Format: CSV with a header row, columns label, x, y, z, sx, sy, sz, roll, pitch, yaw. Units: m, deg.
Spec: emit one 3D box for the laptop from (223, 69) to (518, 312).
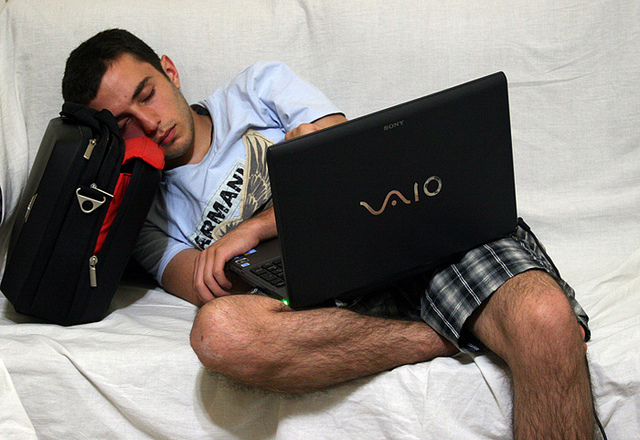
label,x,y,z,sx,sy,sz,roll,pitch,yaw
laptop,0.115,-0.144,1.451,0.776,0.548,0.569,-18,29,-16
